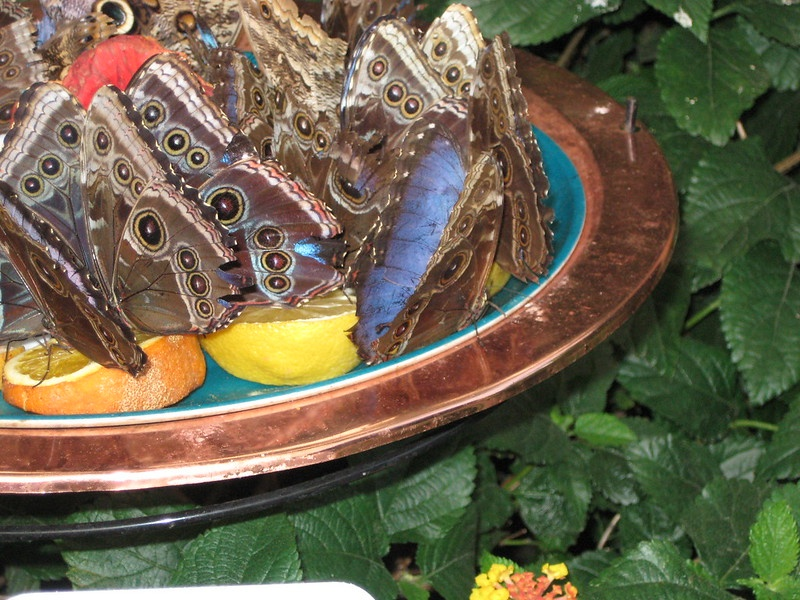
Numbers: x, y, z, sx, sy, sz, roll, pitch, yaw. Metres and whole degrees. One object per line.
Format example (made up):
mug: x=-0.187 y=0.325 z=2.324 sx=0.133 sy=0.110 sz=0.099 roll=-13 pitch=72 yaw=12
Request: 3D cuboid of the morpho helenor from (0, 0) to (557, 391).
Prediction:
morpho helenor: x=-0.105 y=-0.241 z=2.151 sx=0.834 sy=0.758 sz=0.456 roll=-13 pitch=-2 yaw=-15
